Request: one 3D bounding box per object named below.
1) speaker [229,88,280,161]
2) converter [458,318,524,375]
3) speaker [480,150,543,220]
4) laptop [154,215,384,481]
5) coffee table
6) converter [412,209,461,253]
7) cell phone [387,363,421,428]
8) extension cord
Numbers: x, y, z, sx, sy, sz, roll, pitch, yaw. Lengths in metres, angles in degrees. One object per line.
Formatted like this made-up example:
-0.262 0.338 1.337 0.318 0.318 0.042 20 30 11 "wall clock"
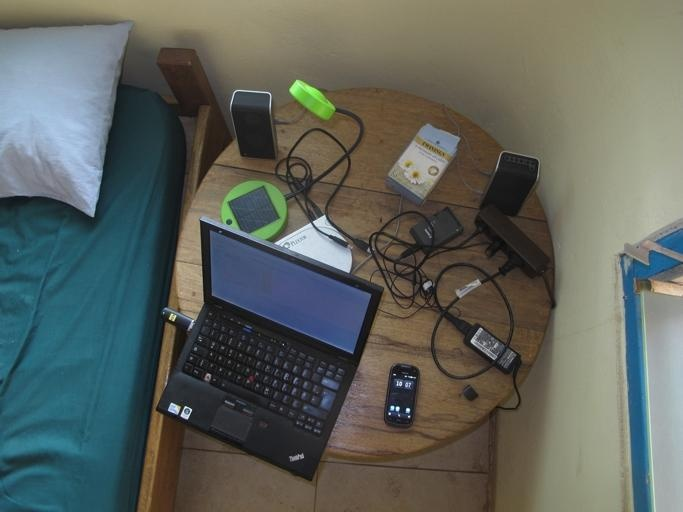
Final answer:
-0.258 -0.393 1.692 0.137 0.209 0.071 5 51 -5 "speaker"
0.424 0.263 1.581 0.179 0.053 0.067 34 55 15 "converter"
0.494 -0.205 1.650 0.117 0.221 0.119 14 56 5 "speaker"
-0.204 0.248 1.432 0.488 0.451 0.335 20 52 7 "laptop"
0.190 0.069 2.065 1.149 0.876 1.612 12 68 -1 "coffee table"
0.280 -0.077 1.666 0.136 0.042 0.103 -29 85 -6 "converter"
0.169 0.382 1.542 0.081 0.032 0.167 3 76 3 "cell phone"
0.496 -0.039 1.647 0.054 0.099 0.251 -36 67 -31 "extension cord"
